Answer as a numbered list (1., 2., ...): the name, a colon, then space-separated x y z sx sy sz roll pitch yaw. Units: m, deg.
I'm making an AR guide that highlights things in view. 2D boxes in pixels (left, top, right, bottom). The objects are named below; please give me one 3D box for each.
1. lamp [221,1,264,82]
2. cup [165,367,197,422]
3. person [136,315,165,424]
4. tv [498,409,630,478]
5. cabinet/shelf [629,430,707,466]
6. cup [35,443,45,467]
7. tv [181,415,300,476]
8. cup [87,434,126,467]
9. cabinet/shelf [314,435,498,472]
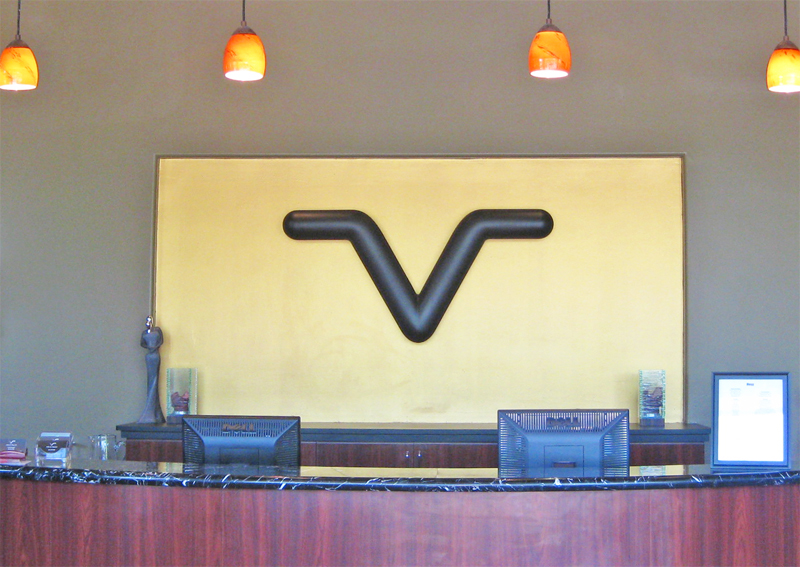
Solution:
1. lamp: -0.970 -1.487 12.395 0.249 0.369 0.160 1 -10 0
2. cup: -1.498 0.734 13.566 0.197 0.360 0.089 3 -10 -12
3. person: -1.713 0.556 13.660 0.169 0.761 0.247 2 -10 -7
4. tv: 0.994 0.933 11.798 0.718 0.402 0.520 0 -1 5
5. cabinet/shelf: 1.830 1.062 13.282 0.520 0.227 0.198 -1 -10 7
6. cup: -2.192 1.012 12.029 0.058 0.118 0.117 0 -3 -17
7. tv: -0.922 0.929 12.009 0.539 0.382 0.126 0 0 4
8. cup: -1.924 1.056 13.002 0.194 0.200 0.263 1 -8 -8
9. cabinet/shelf: 0.008 1.100 13.282 1.323 0.198 0.153 1 -10 -3
